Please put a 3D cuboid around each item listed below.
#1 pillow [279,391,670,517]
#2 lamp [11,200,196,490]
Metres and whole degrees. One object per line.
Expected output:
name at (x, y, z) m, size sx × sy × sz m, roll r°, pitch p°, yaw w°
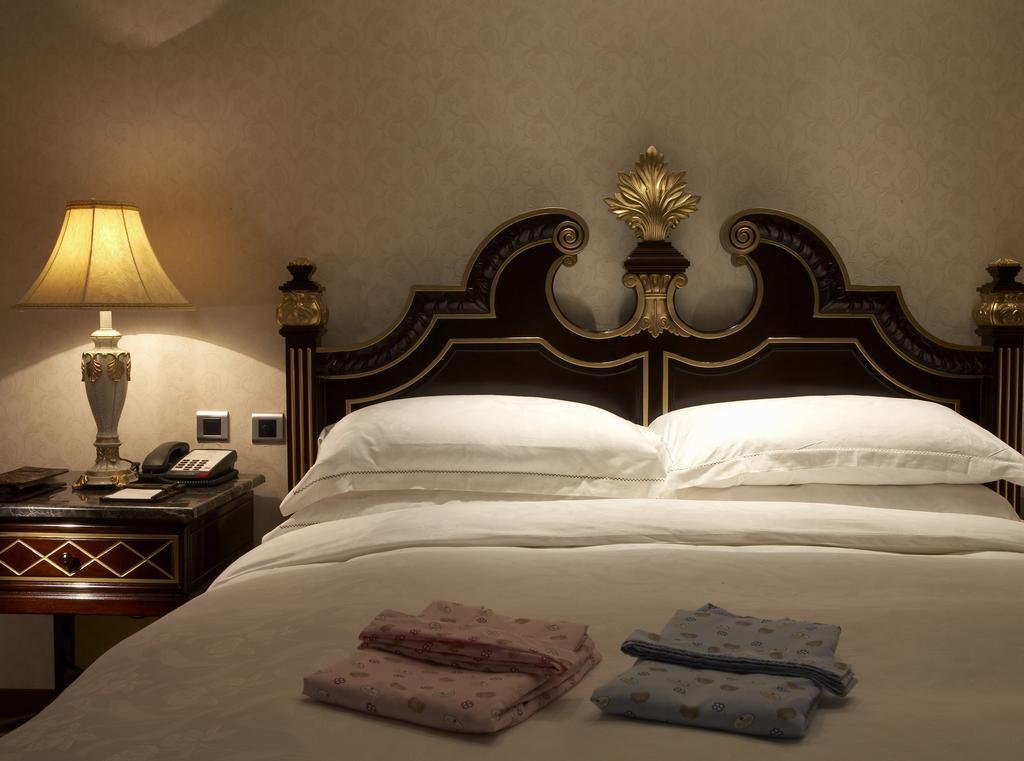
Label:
pillow at (-0.092, 0.206, 2.920) m, size 0.787 × 0.211 × 0.526 m, roll 1°, pitch 11°, yaw -1°
lamp at (-1.405, -0.123, 3.225) m, size 0.543 × 0.941 × 0.581 m, roll 3°, pitch 4°, yaw 35°
